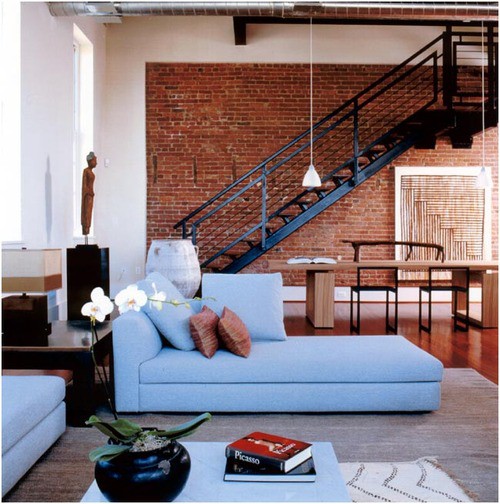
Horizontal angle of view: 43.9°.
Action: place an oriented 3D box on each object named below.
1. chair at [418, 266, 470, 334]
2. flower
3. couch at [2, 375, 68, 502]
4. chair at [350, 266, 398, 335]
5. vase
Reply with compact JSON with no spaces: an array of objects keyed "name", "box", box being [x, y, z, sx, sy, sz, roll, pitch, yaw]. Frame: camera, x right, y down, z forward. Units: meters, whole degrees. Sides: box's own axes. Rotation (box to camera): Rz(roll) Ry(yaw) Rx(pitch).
[{"name":"chair","box":[2.137,0.492,6.915,0.424,0.428,0.621,10,-27,22]},{"name":"flower","box":[-0.482,0.531,2.809,0.623,0.786,0.499,-1,-9,-14]},{"name":"couch","box":[-1.264,0.989,3.404,0.260,0.495,0.625,0,3,9]},{"name":"chair","box":[1.293,0.449,6.474,0.443,0.849,0.513,1,5,21]},{"name":"vase","box":[-0.459,0.947,2.647,0.264,0.177,0.274,2,-13,-5]}]
